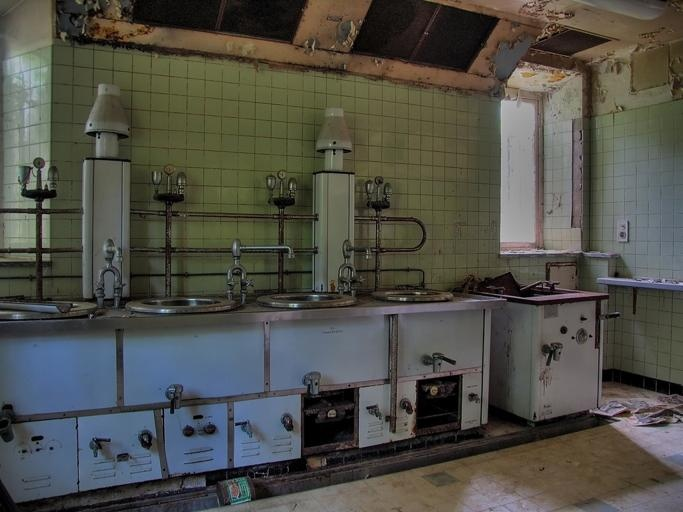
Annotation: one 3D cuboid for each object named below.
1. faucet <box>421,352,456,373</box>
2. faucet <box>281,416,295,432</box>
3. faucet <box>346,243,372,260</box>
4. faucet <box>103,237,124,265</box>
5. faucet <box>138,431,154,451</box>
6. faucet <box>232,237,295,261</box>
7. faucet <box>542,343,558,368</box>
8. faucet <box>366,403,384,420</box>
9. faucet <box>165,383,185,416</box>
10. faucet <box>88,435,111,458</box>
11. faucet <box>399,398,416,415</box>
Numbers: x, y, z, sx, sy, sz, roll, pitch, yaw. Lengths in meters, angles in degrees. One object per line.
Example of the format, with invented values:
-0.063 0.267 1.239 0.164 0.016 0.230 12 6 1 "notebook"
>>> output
0.707 0.770 4.300 0.234 0.144 0.220 6 15 17 "faucet"
-0.349 1.106 3.900 0.085 0.131 0.078 2 14 3 "faucet"
0.135 -0.033 4.558 0.188 0.118 0.114 5 -5 -8 "faucet"
-1.484 -0.031 3.886 0.110 0.197 0.097 5 6 -13 "faucet"
-1.188 1.133 3.639 0.082 0.110 0.028 -5 -7 -26 "faucet"
-0.581 -0.047 4.243 0.509 0.211 0.187 -3 1 -5 "faucet"
1.611 0.759 4.566 0.164 0.191 0.079 -6 16 -28 "faucet"
0.226 1.091 4.134 0.105 0.092 0.054 -2 14 -13 "faucet"
-1.022 0.888 3.669 0.110 0.206 0.103 -3 15 -18 "faucet"
-1.449 1.157 3.587 0.121 0.118 0.055 -3 15 -19 "faucet"
0.466 1.061 4.197 0.105 0.108 0.035 -6 -2 -32 "faucet"
